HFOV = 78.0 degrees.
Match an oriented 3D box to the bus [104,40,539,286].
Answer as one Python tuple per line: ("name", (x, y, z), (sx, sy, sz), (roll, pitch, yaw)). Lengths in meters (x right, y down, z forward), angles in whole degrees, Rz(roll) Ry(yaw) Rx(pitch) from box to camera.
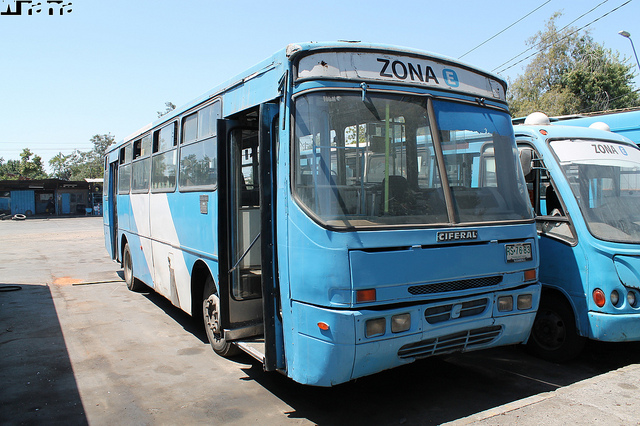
("bus", (0.273, -0.490, 5.469), (2.091, 1.892, 4.814), (-2, 3, -30))

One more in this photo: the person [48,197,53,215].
("person", (-35.051, -0.810, 51.659), (0.497, 2.099, 0.230), (-3, 4, -32))
